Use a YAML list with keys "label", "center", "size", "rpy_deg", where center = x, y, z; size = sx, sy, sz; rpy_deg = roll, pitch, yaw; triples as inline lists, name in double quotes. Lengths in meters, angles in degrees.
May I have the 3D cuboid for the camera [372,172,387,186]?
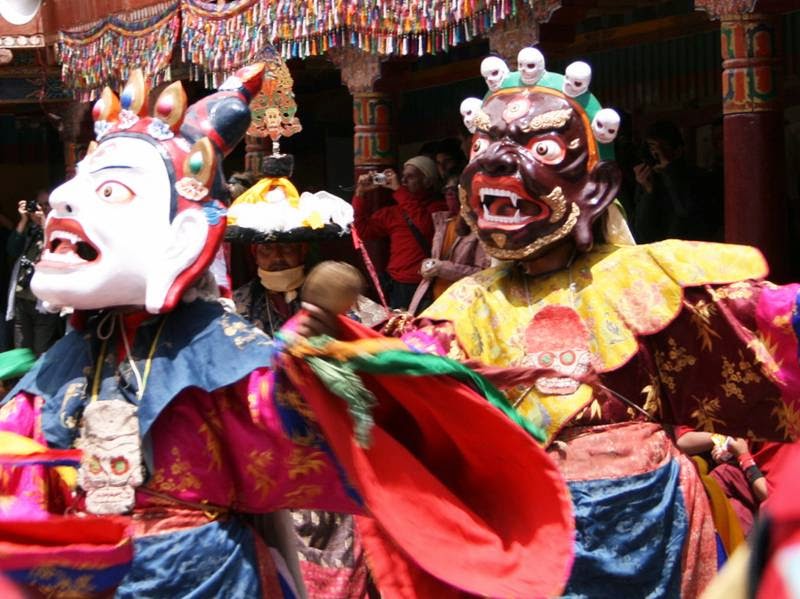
- label: "camera"
  center: [-0.161, -0.899, 5.825]
  size: [0.100, 0.100, 0.097]
  rpy_deg: [2, 6, 3]
